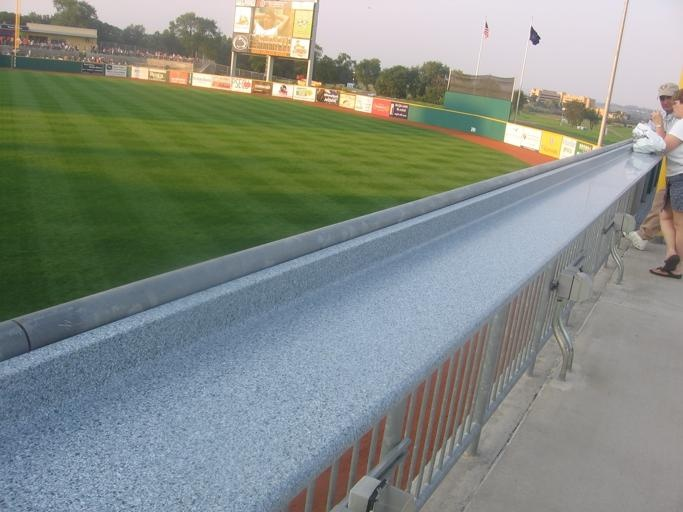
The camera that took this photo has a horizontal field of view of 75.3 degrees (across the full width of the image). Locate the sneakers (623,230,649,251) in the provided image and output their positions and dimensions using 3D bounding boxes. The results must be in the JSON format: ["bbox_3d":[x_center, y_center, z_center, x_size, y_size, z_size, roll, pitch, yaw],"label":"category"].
[{"bbox_3d":[3.046,-0.166,4.589,0.078,0.088,0.193,-19,56,-20],"label":"sneakers"}]

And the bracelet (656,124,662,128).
[{"bbox_3d":[3.337,-1.368,4.657,0.041,0.012,0.030,-5,46,0],"label":"bracelet"}]
